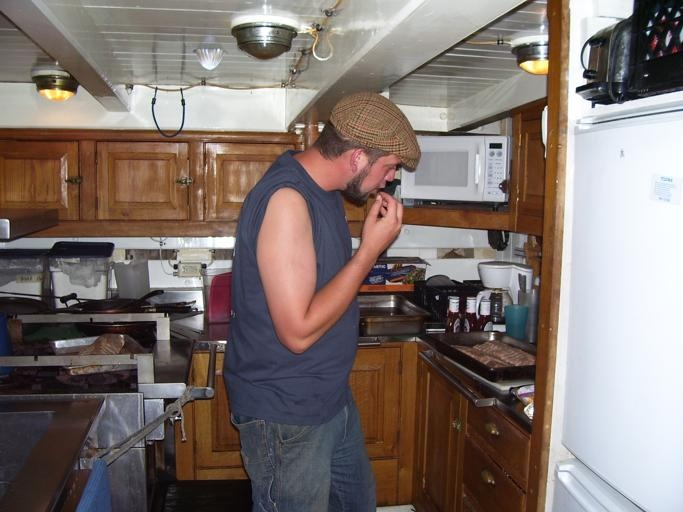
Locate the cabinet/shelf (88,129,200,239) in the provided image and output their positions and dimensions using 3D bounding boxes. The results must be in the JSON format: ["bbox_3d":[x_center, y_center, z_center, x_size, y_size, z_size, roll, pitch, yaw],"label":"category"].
[{"bbox_3d":[-1.061,-0.354,3.377,0.937,0.831,0.478,0,-1,-7],"label":"cabinet/shelf"}]

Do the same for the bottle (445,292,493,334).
[{"bbox_3d":[0.673,0.309,2.765,0.243,0.193,0.311,1,8,12],"label":"bottle"}]

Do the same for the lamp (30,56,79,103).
[{"bbox_3d":[-1.535,-0.948,2.827,0.228,0.161,0.235,0,1,-6],"label":"lamp"}]

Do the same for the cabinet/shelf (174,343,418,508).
[{"bbox_3d":[-0.285,0.712,3.179,1.368,1.211,0.883,0,-1,-4],"label":"cabinet/shelf"}]

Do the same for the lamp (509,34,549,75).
[{"bbox_3d":[0.828,-0.891,2.331,0.156,0.135,0.274,2,8,19],"label":"lamp"}]

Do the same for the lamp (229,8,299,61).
[{"bbox_3d":[-0.295,-0.855,2.078,0.185,0.115,0.184,3,6,36],"label":"lamp"}]

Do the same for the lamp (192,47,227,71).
[{"bbox_3d":[-0.599,-0.920,2.461,0.088,0.052,0.093,-6,8,-37],"label":"lamp"}]

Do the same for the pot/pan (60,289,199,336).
[{"bbox_3d":[-1.080,0.260,2.714,0.546,0.207,0.311,4,-8,-11],"label":"pot/pan"}]

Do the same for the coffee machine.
[{"bbox_3d":[0.842,0.171,2.937,0.382,0.390,0.240,1,-1,5],"label":"coffee machine"}]
